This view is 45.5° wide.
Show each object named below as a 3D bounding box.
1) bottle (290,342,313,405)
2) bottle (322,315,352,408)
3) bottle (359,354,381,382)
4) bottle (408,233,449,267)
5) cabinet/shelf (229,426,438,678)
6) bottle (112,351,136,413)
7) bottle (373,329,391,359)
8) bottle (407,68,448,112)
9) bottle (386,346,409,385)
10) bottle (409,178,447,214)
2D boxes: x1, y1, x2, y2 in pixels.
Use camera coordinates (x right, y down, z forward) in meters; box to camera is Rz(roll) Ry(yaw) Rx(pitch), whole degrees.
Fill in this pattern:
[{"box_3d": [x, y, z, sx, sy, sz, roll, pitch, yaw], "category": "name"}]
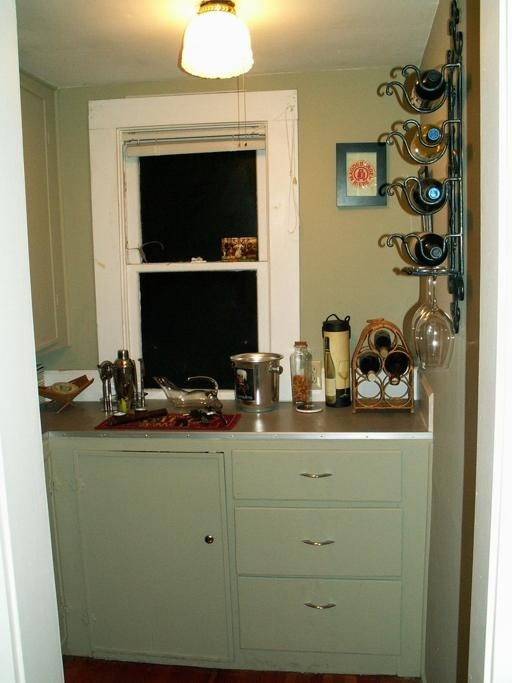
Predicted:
[{"box_3d": [0.180, 0.125, 2.467, 0.096, 0.254, 0.231, -4, 7, 5], "category": "bottle"}, {"box_3d": [0.317, 0.086, 2.388, 0.113, 0.342, 0.122, -5, 7, 1], "category": "bottle"}, {"box_3d": [0.427, 0.094, 2.292, 0.081, 0.100, 0.094, -5, 7, 3], "category": "bottle"}, {"box_3d": [0.411, -0.215, 1.453, 0.102, 0.074, 0.116, -10, 16, 8], "category": "bottle"}, {"box_3d": [0.257, 0.694, 2.397, 0.794, 1.173, 0.739, -1, -1, 8], "category": "cabinet/shelf"}, {"box_3d": [-0.530, 0.159, 2.478, 0.085, 0.240, 0.083, -5, 7, 1], "category": "bottle"}, {"box_3d": [0.481, 0.014, 2.336, 0.076, 0.088, 0.202, -4, 11, 13], "category": "bottle"}, {"box_3d": [0.421, -0.615, 1.510, 0.087, 0.106, 0.139, -3, 7, 15], "category": "bottle"}, {"box_3d": [0.516, 0.092, 2.241, 0.094, 0.119, 0.065, -4, 7, 12], "category": "bottle"}, {"box_3d": [0.416, -0.352, 1.485, 0.084, 0.085, 0.121, -3, 7, 15], "category": "bottle"}]
